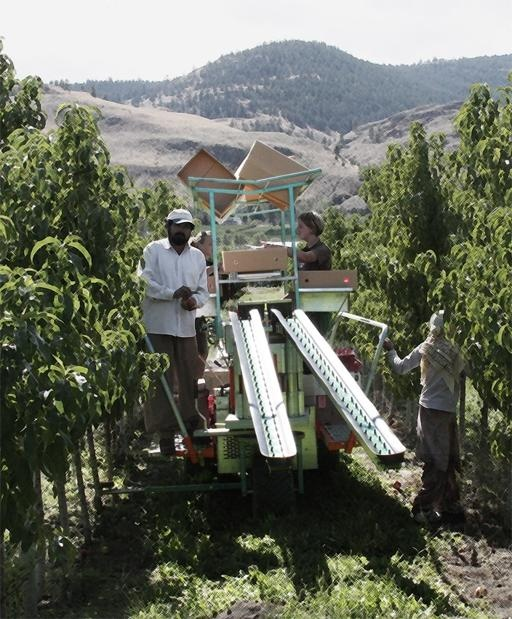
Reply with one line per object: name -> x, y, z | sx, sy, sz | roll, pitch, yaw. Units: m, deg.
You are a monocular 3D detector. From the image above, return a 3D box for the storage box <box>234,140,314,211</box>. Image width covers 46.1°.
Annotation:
storage box -> 0.258, -1.621, 6.906 | 0.674, 0.360, 0.731 | 19, 19, 0

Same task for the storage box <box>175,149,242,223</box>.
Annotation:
storage box -> -0.516, -1.419, 6.636 | 0.267, 0.648, 0.912 | -39, -4, 3

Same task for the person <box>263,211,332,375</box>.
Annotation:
person -> 0.478, -0.380, 6.631 | 0.527, 1.374, 0.691 | 20, 34, 39

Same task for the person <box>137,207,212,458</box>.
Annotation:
person -> -0.686, 0.184, 5.269 | 0.491, 1.525, 0.674 | -3, -1, 29

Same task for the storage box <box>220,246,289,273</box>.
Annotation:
storage box -> -0.009, -0.446, 5.342 | 0.574, 0.169, 0.200 | -3, -1, -8

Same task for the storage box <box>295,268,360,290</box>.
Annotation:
storage box -> 0.665, -0.279, 5.632 | 0.540, 0.161, 0.167 | -3, -1, 3

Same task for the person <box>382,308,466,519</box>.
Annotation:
person -> 1.513, 0.925, 5.238 | 0.577, 1.712, 0.489 | -3, -1, 14
